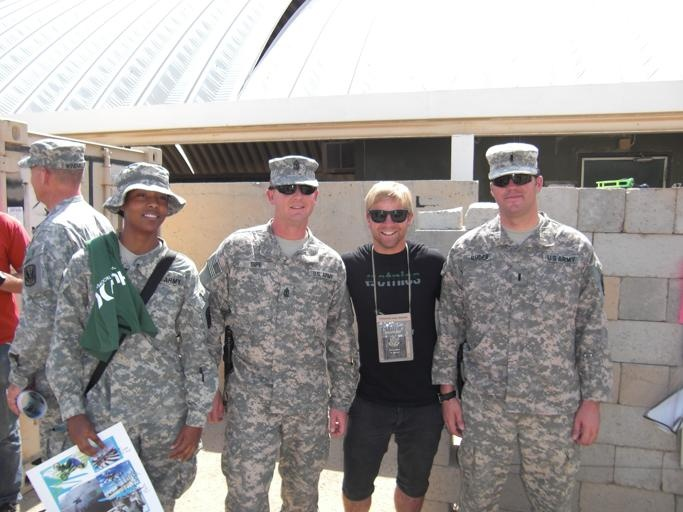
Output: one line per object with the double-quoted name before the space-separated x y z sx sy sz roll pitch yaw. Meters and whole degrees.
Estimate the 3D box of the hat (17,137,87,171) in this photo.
"hat" -2.462 -0.867 6.656 0.438 0.154 0.294 3 11 19

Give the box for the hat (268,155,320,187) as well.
"hat" -0.415 -0.721 6.785 0.463 0.195 0.577 0 2 -2

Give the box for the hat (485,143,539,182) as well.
"hat" 1.439 -0.810 6.708 0.427 0.231 0.497 -5 7 10

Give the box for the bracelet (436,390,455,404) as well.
"bracelet" 0.891 1.207 6.762 0.122 0.048 0.111 -13 -2 -3

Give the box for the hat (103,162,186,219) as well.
"hat" -1.565 -0.504 6.267 0.574 0.274 0.442 4 -1 -15
